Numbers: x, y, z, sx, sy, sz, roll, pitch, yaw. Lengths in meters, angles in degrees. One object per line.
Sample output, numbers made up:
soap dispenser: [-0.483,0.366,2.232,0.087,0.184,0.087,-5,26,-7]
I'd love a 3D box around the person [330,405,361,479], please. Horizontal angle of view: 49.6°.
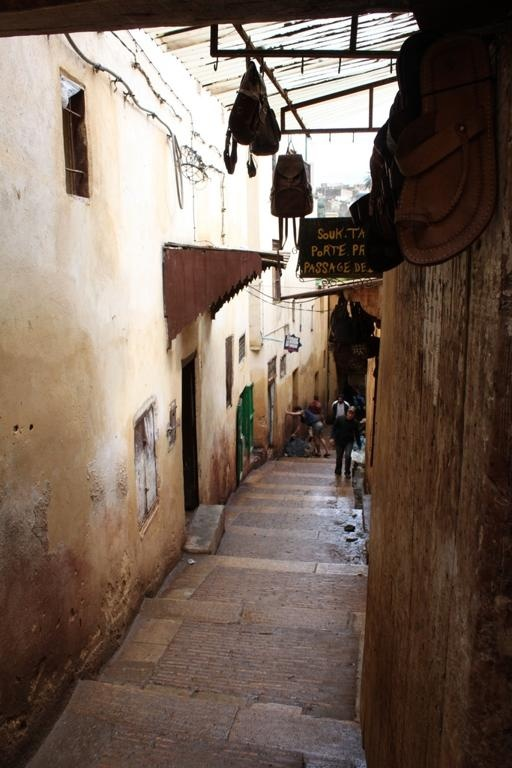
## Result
person: [1.838,1.190,11.323,0.322,1.632,0.398,3,20,7]

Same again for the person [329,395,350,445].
person: [1.759,0.758,11.383,0.360,1.053,1.244,1,7,9]
